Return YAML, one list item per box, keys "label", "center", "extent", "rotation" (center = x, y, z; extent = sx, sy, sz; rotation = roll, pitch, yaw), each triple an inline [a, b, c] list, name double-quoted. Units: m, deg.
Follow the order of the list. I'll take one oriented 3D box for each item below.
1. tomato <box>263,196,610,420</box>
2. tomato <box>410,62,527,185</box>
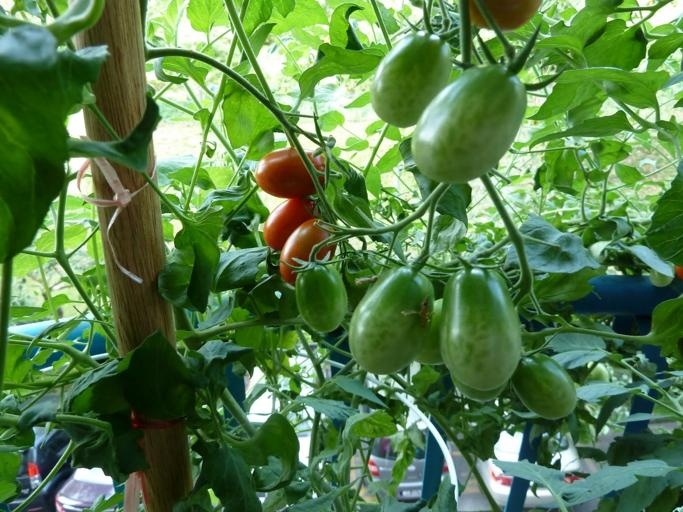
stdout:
- label: "tomato"
  center: [0.103, 0.010, 0.390]
  extent: [0.152, 0.142, 0.059]
  rotation: [24, 23, 23]
- label: "tomato"
  center: [0.068, -0.068, 0.318]
  extent: [0.039, 0.067, 0.046]
  rotation: [50, -14, -19]
